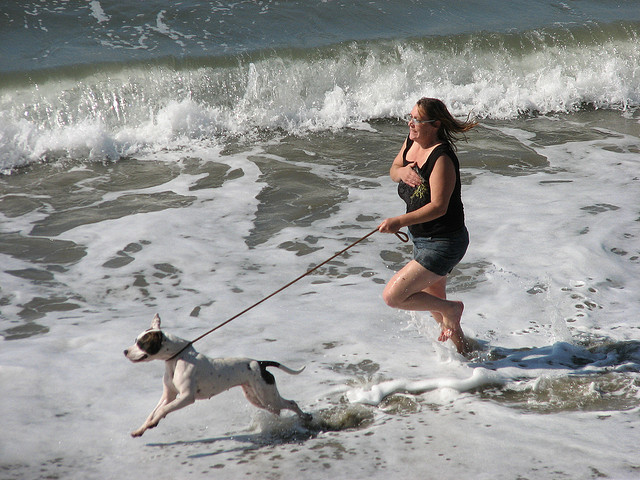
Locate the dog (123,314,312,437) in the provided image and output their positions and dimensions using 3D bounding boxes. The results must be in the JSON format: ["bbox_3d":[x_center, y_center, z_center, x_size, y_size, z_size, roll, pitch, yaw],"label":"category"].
[{"bbox_3d":[-1.076,1.447,7.871,2.127,0.813,0.464,13,-27,-31],"label":"dog"}]

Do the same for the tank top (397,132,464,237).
[{"bbox_3d":[1.196,-0.534,8.307,0.680,1.057,0.408,-2,20,6],"label":"tank top"}]
